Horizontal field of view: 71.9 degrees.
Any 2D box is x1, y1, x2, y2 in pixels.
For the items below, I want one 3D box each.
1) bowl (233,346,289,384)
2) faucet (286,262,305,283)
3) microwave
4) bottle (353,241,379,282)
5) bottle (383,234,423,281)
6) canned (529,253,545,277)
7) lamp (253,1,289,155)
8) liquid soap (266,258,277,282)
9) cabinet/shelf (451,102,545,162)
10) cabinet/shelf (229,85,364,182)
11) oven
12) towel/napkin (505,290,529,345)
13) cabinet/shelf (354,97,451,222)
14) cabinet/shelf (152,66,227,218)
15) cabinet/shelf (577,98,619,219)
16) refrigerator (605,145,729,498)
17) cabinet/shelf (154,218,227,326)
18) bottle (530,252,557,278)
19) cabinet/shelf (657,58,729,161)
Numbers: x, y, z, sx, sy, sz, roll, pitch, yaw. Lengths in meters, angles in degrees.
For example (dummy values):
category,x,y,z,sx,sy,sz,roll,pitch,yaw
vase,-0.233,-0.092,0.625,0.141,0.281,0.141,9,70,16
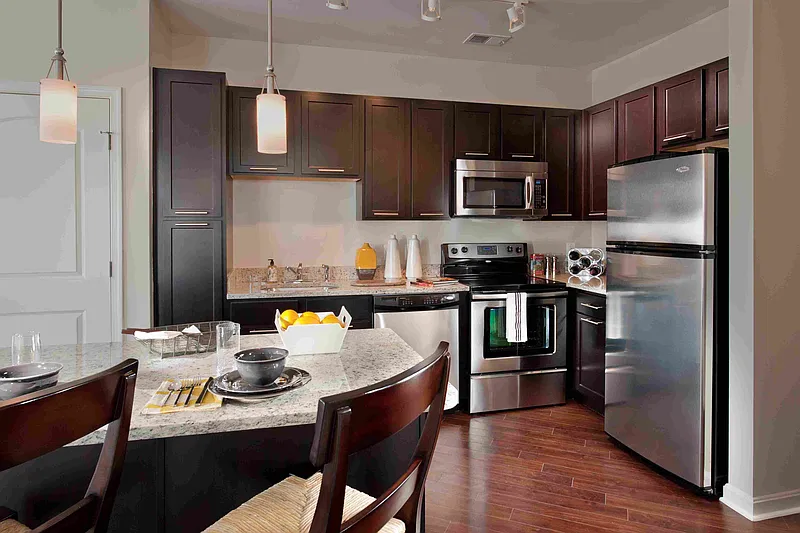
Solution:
category,x,y,z,sx,sy,sz,roll,pitch,yaw
bowl,-0.632,0.465,2.473,0.281,0.156,0.276,-3,0,0
faucet,-0.913,0.062,4.849,0.173,0.204,0.129,2,0,8
microwave,0.980,-0.639,5.015,0.801,0.509,0.487,3,-6,23
bottle,-0.312,-0.046,4.924,0.181,0.309,0.177,0,15,0
bottle,0.028,-0.068,4.911,0.355,0.401,0.459,0,15,2
canned,1.324,-0.014,5.291,0.153,0.183,0.275,3,15,13
lamp,-0.630,-0.908,2.631,0.136,0.712,0.259,-4,15,-13
liquid soap,-1.120,0.033,4.777,0.100,0.176,0.151,-4,15,-15
cabinet/shelf,0.988,-1.252,5.079,0.876,0.522,0.493,7,29,21
cabinet/shelf,-0.883,-1.103,4.649,1.102,0.672,0.373,-2,11,-20
oven,0.986,0.597,4.896,0.876,1.101,0.805,-2,19,7
towel/napkin,0.970,0.429,4.564,0.192,0.423,0.101,-3,15,-12
cabinet/shelf,-0.001,-0.942,4.725,1.061,1.302,0.502,0,2,-19
cabinet/shelf,-1.593,-0.924,4.191,0.510,1.080,0.241,-2,15,-7
cabinet/shelf,1.809,-0.917,4.909,0.111,1.016,0.375,-4,5,-23
refrigerator,1.579,0.316,3.966,0.965,1.943,0.653,2,-7,2
cabinet/shelf,-1.658,0.145,4.413,0.567,0.984,0.570,-4,-10,-5
bottle,1.347,-0.014,5.262,0.299,0.260,0.168,1,-2,2
cabinet/shelf,2.270,-1.182,4.173,0.344,0.514,0.629,-6,6,-21
